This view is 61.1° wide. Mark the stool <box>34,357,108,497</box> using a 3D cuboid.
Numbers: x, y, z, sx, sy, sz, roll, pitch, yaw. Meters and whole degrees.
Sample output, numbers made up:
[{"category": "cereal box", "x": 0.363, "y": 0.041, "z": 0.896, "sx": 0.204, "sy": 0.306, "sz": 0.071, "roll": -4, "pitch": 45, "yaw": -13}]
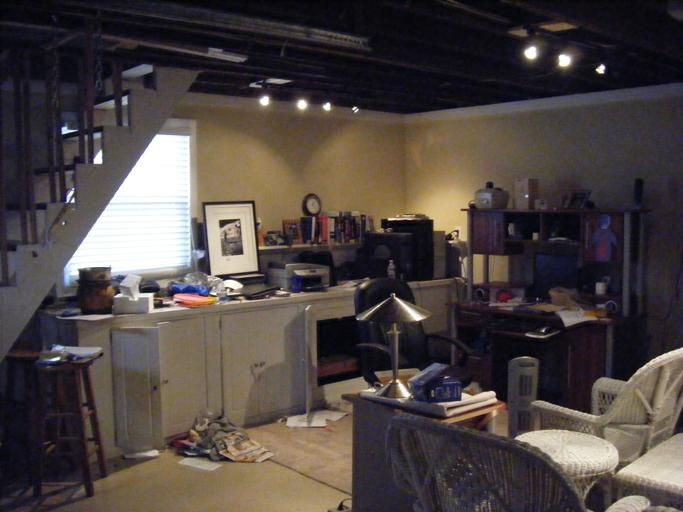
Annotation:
[{"category": "stool", "x": -2.138, "y": 1.238, "z": 4.535, "sx": 0.537, "sy": 1.022, "sz": 0.865, "roll": -4, "pitch": 11, "yaw": -23}]

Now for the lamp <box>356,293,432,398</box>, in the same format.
[{"category": "lamp", "x": 0.326, "y": 0.560, "z": 3.816, "sx": 0.590, "sy": 0.740, "sz": 0.586, "roll": 0, "pitch": -1, "yaw": 0}]

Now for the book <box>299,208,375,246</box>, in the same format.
[{"category": "book", "x": -0.066, "y": -0.323, "z": 6.747, "sx": 0.894, "sy": 0.373, "sz": 0.185, "roll": -6, "pitch": 12, "yaw": -32}]

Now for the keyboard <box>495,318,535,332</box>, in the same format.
[{"category": "keyboard", "x": 1.678, "y": 0.652, "z": 5.604, "sx": 0.377, "sy": 0.082, "sz": 0.560, "roll": 3, "pitch": 10, "yaw": 17}]

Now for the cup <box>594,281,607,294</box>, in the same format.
[{"category": "cup", "x": 2.579, "y": 0.315, "z": 5.719, "sx": 0.096, "sy": 0.123, "sz": 0.177, "roll": 6, "pitch": 11, "yaw": 29}]

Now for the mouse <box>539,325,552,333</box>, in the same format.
[{"category": "mouse", "x": 1.857, "y": 0.667, "z": 5.260, "sx": 0.088, "sy": 0.034, "sz": 0.168, "roll": 7, "pitch": 12, "yaw": 36}]

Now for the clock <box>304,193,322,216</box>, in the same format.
[{"category": "clock", "x": -0.344, "y": -0.599, "z": 6.774, "sx": 0.057, "sy": 0.240, "sz": 0.245, "roll": -1, "pitch": -27, "yaw": 39}]

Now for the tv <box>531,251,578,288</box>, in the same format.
[{"category": "tv", "x": 2.279, "y": 0.141, "z": 6.112, "sx": 0.130, "sy": 0.357, "sz": 0.390, "roll": 1, "pitch": 1, "yaw": -39}]
